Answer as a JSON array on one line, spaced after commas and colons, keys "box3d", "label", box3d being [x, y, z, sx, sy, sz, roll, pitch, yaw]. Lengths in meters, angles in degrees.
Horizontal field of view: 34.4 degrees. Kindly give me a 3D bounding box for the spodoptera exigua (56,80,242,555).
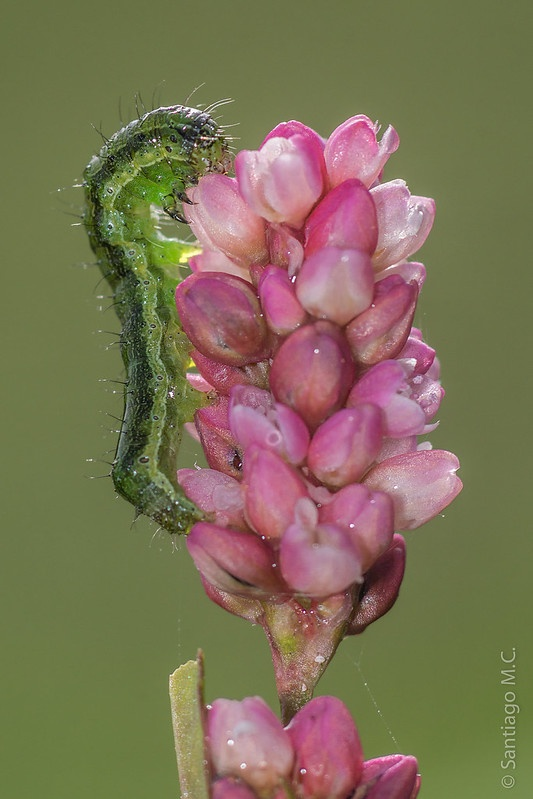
[{"box3d": [-0.081, -0.068, 0.699, 0.147, 0.372, 0.123, -1, -17, -2], "label": "spodoptera exigua"}]
